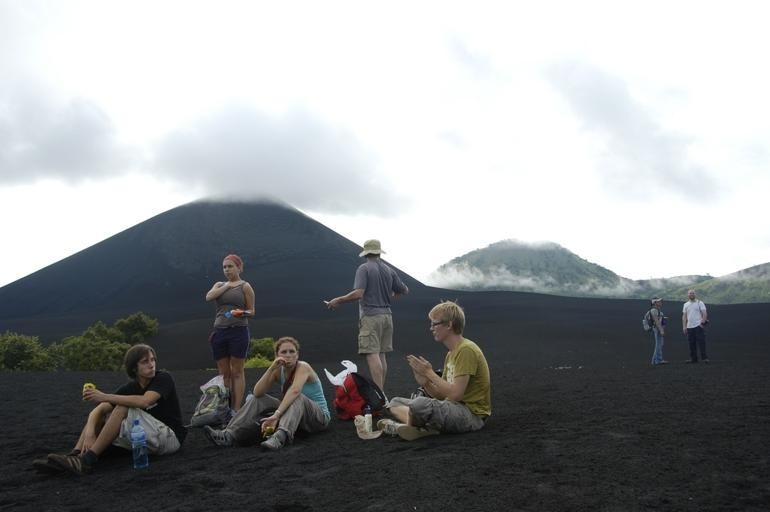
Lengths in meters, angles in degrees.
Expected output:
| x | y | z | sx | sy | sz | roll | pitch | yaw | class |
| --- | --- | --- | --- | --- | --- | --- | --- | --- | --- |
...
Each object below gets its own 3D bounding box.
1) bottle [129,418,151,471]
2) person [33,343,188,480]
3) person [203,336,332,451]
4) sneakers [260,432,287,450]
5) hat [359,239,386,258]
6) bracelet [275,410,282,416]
| x | y | z | sx | sy | sz | roll | pitch | yaw | class |
| --- | --- | --- | --- | --- | --- | --- | --- | --- | --- |
| -3.127 | 2.368 | 6.538 | 0.249 | 0.609 | 0.163 | 0 | -13 | -15 | bottle |
| -3.474 | 1.940 | 6.692 | 0.904 | 1.458 | 1.710 | -10 | -14 | 28 | person |
| -1.547 | 1.937 | 7.340 | 1.098 | 1.322 | 1.743 | -8 | -7 | 31 | person |
| -1.449 | 2.534 | 7.022 | 0.162 | 0.278 | 0.416 | -28 | -33 | 18 | sneakers |
| -0.213 | -0.140 | 9.074 | 0.394 | 0.230 | 0.430 | 0 | 0 | -5 | hat |
| -1.463 | 2.141 | 7.042 | 0.092 | 0.082 | 0.057 | -13 | -11 | 20 | bracelet |
